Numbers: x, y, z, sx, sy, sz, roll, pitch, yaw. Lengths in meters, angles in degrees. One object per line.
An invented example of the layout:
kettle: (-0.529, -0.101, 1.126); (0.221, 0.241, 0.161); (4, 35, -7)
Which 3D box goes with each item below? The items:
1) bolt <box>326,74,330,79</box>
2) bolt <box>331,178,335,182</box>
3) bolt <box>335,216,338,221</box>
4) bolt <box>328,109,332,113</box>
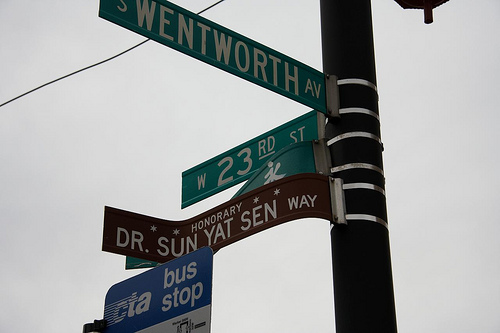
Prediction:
bolt: (0.653, -0.806, 6.635); (0.026, 0.012, 0.042); (-2, -89, 5)
bolt: (0.663, 0.086, 6.288); (0.032, 0.026, 0.015); (10, -44, -9)
bolt: (0.679, 0.388, 6.164); (0.021, 0.031, 0.011); (-3, -43, 4)
bolt: (0.659, -0.495, 6.513); (0.029, 0.032, 0.008); (0, -4, -8)
